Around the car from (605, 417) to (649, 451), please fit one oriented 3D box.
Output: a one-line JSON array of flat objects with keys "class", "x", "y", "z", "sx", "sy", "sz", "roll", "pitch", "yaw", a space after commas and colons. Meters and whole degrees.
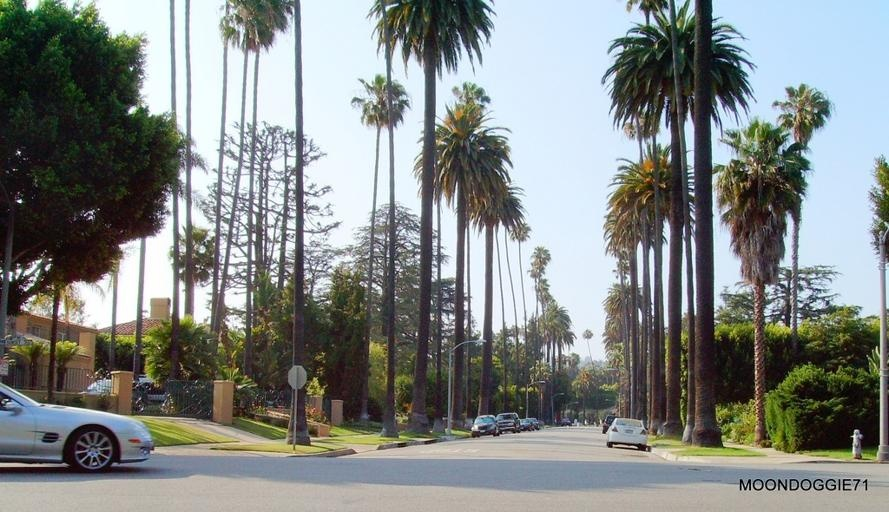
[{"class": "car", "x": 12.265, "y": 11.803, "z": 54.720, "sx": 2.481, "sy": 2.381, "sz": 4.187, "roll": 2, "pitch": -15, "yaw": 2}]
